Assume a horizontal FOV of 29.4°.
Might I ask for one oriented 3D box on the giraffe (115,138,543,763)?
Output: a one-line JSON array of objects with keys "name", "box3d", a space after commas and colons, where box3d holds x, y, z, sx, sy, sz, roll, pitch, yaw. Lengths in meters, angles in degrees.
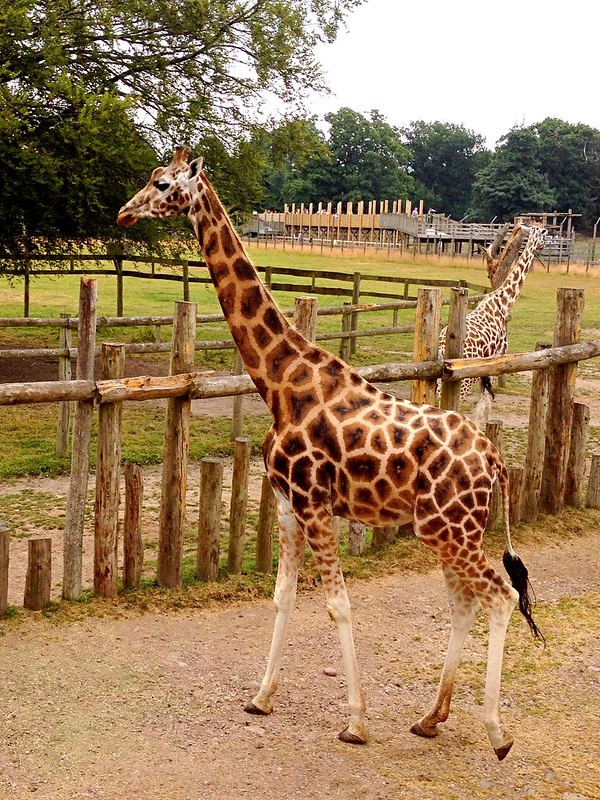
[{"name": "giraffe", "box3d": [0.190, 0.221, 5.179, 1.861, 2.542, 0.754, 6, 15, 11]}]
